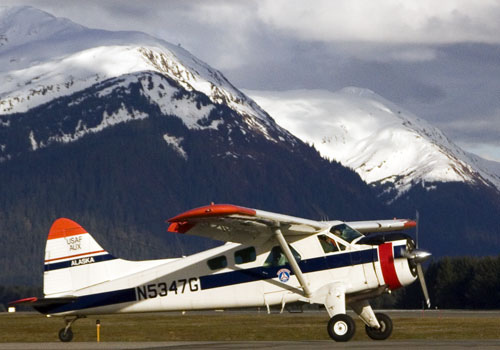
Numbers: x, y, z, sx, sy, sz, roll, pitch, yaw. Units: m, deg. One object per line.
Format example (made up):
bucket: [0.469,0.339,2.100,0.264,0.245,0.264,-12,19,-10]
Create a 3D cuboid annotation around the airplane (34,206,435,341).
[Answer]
airplane: [-3.550,20.789,220.624,78.076,28.276,3.167,1,7,2]
